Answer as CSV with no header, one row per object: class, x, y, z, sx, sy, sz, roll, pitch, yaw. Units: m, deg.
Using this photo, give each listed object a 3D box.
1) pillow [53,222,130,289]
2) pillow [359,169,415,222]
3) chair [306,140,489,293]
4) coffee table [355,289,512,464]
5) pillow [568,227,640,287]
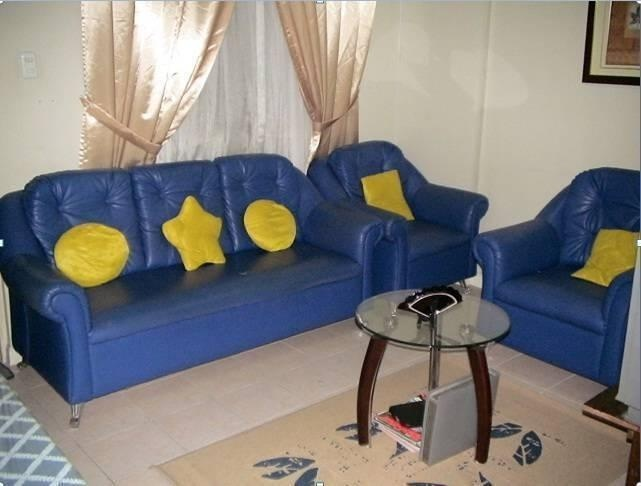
pillow,-1.369,0.073,2.939,0.391,0.334,0.232,-18,25,-41
pillow,0.541,-0.411,4.116,0.477,0.429,0.116,-12,-9,-39
chair,0.612,-0.256,4.153,1.217,1.029,1.291,-10,23,-16
coffee table,0.489,0.670,2.505,0.702,0.701,0.741,-23,13,-32
pillow,1.835,0.083,3.114,0.358,0.298,0.301,-13,21,-31
